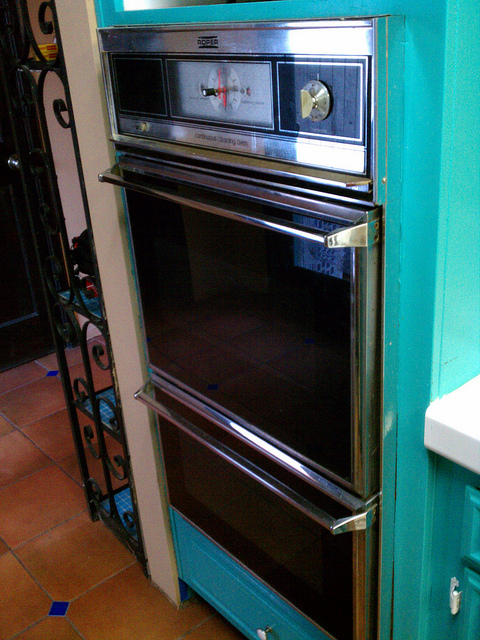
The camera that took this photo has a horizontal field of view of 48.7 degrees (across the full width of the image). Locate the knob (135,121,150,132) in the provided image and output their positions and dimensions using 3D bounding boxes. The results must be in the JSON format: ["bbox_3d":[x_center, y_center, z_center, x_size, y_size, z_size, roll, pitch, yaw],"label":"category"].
[{"bbox_3d":[-0.175,-0.346,0.951,0.017,0.024,0.006,13,13,19],"label":"knob"}]

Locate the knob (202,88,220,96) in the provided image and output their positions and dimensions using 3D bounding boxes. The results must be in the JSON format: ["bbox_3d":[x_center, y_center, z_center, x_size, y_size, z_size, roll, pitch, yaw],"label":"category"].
[{"bbox_3d":[-0.045,-0.326,0.759,0.014,0.009,0.038,-26,30,-35],"label":"knob"}]

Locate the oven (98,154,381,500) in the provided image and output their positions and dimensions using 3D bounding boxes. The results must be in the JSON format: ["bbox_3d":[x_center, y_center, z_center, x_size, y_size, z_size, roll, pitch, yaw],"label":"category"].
[{"bbox_3d":[0.059,-0.056,1.033,0.569,0.547,0.431,16,27,38],"label":"oven"}]

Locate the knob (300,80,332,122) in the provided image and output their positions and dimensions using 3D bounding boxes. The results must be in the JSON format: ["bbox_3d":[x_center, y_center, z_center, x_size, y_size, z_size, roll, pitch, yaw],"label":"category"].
[{"bbox_3d":[0.085,-0.250,0.607,0.033,0.049,0.023,0,5,0],"label":"knob"}]
